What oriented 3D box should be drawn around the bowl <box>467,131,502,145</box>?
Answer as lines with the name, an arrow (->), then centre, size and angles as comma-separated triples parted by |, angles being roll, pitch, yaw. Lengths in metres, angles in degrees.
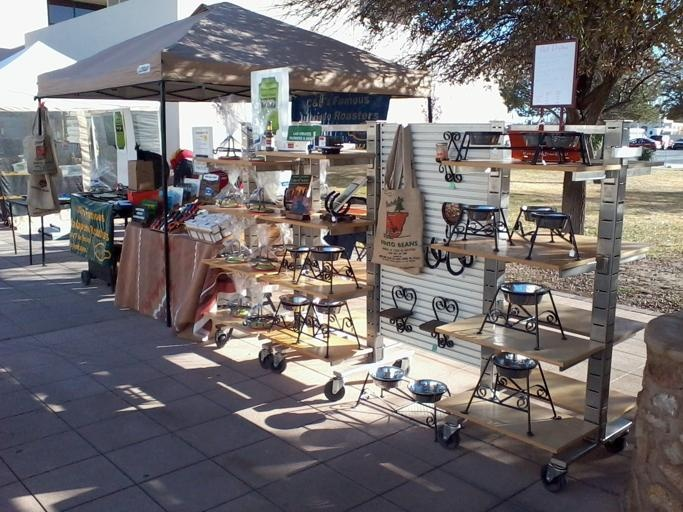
bowl -> 1.054, -0.862, 3.743 | 0.186, 0.057, 0.126 | 4, 16, 20

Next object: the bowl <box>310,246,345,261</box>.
bowl -> -0.130, -0.014, 4.532 | 0.280, 0.149, 0.306 | -1, 10, 0

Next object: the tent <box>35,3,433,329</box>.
tent -> -1.070, -1.486, 8.678 | 5.680, 3.188, 5.617 | -13, 19, -43

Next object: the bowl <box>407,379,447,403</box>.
bowl -> 0.707, 1.064, 4.076 | 0.239, 0.061, 0.195 | -4, 9, -26

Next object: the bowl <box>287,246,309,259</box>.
bowl -> -0.410, -0.034, 4.846 | 0.194, 0.131, 0.401 | -2, 10, -7

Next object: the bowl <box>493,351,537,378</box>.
bowl -> 1.225, 0.769, 3.593 | 0.291, 0.077, 0.253 | -2, 8, -14

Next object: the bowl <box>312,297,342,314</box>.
bowl -> -0.141, 0.452, 4.808 | 0.343, 0.080, 0.288 | 1, 5, 3

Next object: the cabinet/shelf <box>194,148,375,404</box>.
cabinet/shelf -> -0.607, 0.254, 5.123 | 1.010, 2.048, 2.950 | -5, 9, -43

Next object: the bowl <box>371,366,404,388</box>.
bowl -> 0.409, 1.046, 4.442 | 0.294, 0.127, 0.332 | 0, 10, 5

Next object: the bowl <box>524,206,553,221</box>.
bowl -> 1.440, -0.295, 3.713 | 0.217, 0.066, 0.140 | -4, 17, -10

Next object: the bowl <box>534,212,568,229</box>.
bowl -> 1.452, -0.239, 3.511 | 0.213, 0.118, 0.193 | 2, 11, 12

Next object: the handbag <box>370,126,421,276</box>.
handbag -> 0.487, -0.504, 4.290 | 0.335, 1.183, 0.306 | -5, 13, -16
